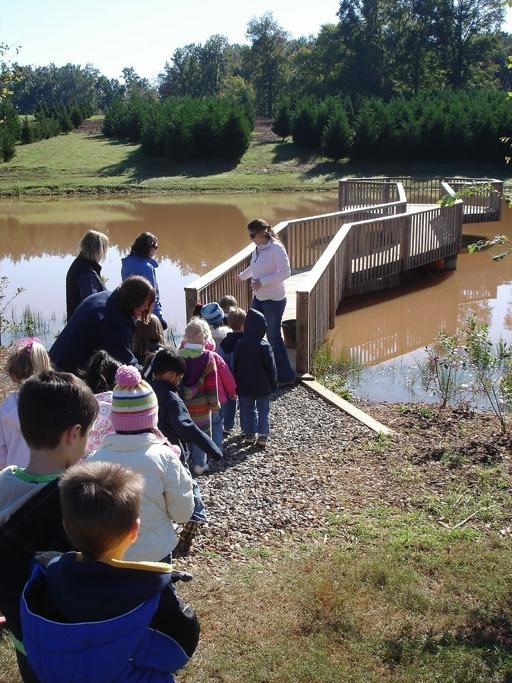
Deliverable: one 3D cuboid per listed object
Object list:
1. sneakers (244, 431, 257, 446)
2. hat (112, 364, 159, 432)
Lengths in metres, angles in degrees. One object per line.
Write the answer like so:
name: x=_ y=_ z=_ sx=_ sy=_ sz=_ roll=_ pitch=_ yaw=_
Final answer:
sneakers: x=-0.043 y=0.878 z=5.715 sx=0.092 sy=0.123 sz=0.120 roll=0 pitch=-6 yaw=2
hat: x=-0.500 y=0.236 z=2.630 sx=0.195 sy=0.267 sz=0.259 roll=-2 pitch=7 yaw=-14
